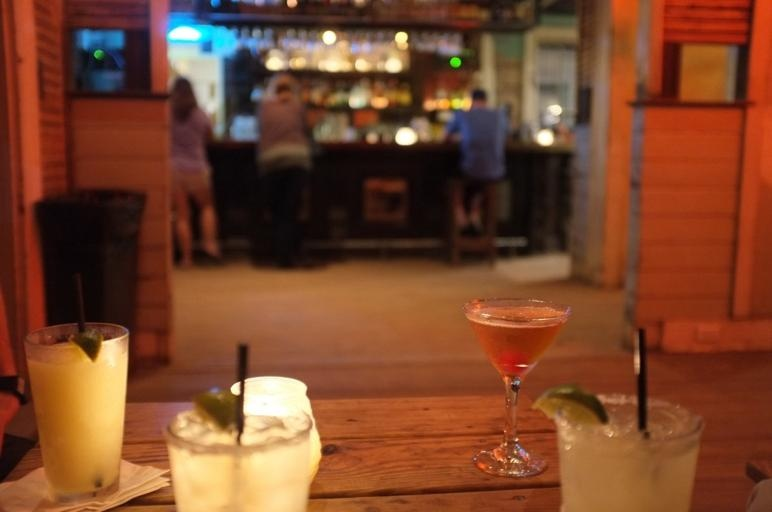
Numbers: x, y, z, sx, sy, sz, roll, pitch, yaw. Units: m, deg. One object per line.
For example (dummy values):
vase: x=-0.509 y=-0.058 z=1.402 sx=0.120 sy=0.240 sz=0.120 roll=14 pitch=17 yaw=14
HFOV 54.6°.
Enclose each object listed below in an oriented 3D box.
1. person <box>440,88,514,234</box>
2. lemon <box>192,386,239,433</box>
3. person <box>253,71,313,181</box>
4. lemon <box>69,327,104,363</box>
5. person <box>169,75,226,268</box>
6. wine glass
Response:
person: x=0.862 y=-0.887 z=7.210 sx=0.587 sy=1.411 sz=0.608 roll=1 pitch=11 yaw=7
lemon: x=-0.322 y=0.292 z=1.484 sx=0.094 sy=0.065 sz=0.116 roll=2 pitch=10 yaw=7
person: x=-0.830 y=-1.074 z=6.122 sx=0.434 sy=0.791 sz=0.243 roll=-1 pitch=11 yaw=-9
lemon: x=-0.625 y=0.194 z=1.574 sx=0.051 sy=0.058 sz=0.047 roll=8 pitch=13 yaw=38
person: x=-1.425 y=-0.503 z=5.555 sx=0.370 sy=1.480 sz=2.591 roll=-2 pitch=10 yaw=-13
wine glass: x=0.298 y=0.294 z=1.766 sx=0.350 sy=0.447 sz=0.345 roll=2 pitch=2 yaw=2
